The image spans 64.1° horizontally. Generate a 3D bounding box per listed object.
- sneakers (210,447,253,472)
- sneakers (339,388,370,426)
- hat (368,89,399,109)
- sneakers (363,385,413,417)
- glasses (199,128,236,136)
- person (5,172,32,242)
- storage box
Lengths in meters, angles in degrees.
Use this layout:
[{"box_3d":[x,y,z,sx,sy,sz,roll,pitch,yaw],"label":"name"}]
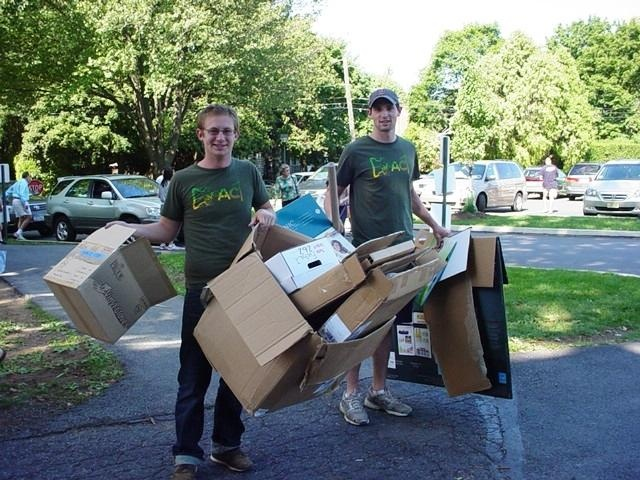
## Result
[{"box_3d":[-0.578,1.420,3.386,0.303,0.132,0.117,3,3,22],"label":"sneakers"},{"box_3d":[0.260,1.298,4.000,0.124,0.143,0.294,2,0,-20],"label":"sneakers"},{"box_3d":[0.491,-1.103,3.979,0.154,0.113,0.215,-13,-11,12],"label":"hat"},{"box_3d":[0.531,1.296,4.160,0.408,0.185,0.145,7,4,25],"label":"sneakers"},{"box_3d":[-0.655,-0.690,3.274,0.236,0.059,0.082,-2,9,-11],"label":"glasses"},{"box_3d":[-9.647,-1.092,16.489,0.558,2.120,0.726,-6,10,-30],"label":"person"},{"box_3d":[-0.015,0.506,3.338,2.972,1.474,1.392,-5,10,-29],"label":"storage box"}]
